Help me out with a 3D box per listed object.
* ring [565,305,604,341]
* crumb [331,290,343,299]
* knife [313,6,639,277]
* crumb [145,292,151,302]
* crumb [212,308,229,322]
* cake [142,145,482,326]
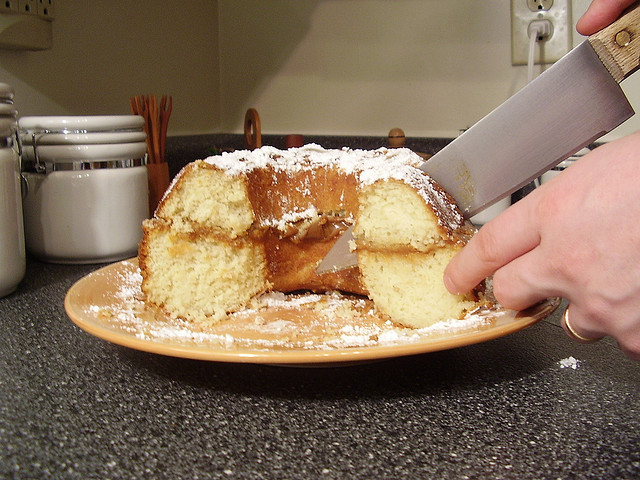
[{"bbox_3d":[0.322,0.104,0.685,0.041,0.045,0.019,4,15,24],"label":"ring"},{"bbox_3d":[0.029,0.096,0.974,0.012,0.004,0.013,-16,31,-24],"label":"crumb"},{"bbox_3d":[0.191,-0.075,0.870,0.689,0.121,0.056,-38,-14,38],"label":"knife"},{"bbox_3d":[-0.284,0.095,0.923,0.004,0.013,0.012,7,-8,-44],"label":"crumb"},{"bbox_3d":[-0.163,0.123,0.907,0.016,0.005,0.016,-25,30,-31],"label":"crumb"},{"bbox_3d":[-0.033,-0.015,1.019,0.492,0.261,0.527,1,10,-8],"label":"cake"}]
